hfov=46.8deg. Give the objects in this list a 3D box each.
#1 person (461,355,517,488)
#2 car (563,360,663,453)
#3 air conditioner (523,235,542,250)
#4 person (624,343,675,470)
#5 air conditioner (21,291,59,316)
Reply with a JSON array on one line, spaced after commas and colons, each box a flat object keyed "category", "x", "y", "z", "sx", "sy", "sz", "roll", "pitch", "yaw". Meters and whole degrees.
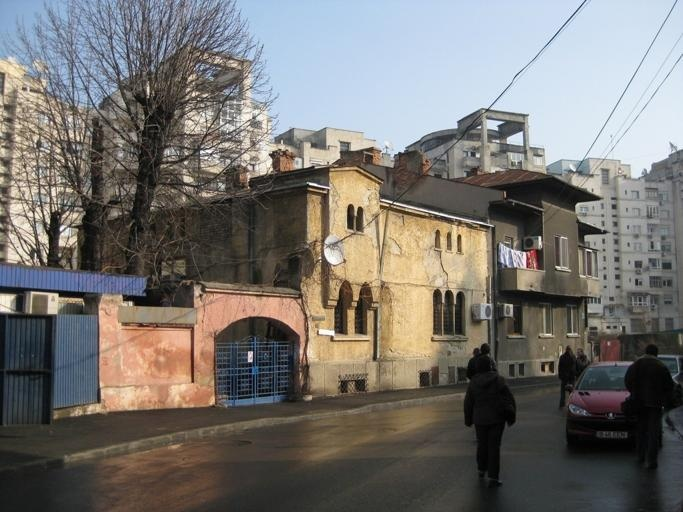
[{"category": "person", "x": 2.946, "y": 3.268, "z": 15.759, "sx": 0.988, "sy": 2.421, "sz": 0.853, "roll": 0, "pitch": 1, "yaw": 23}, {"category": "car", "x": 6.320, "y": 3.548, "z": 18.189, "sx": 1.367, "sy": 1.516, "sz": 3.012, "roll": -3, "pitch": -14, "yaw": 14}, {"category": "air conditioner", "x": 10.380, "y": -0.585, "z": 42.820, "sx": 1.026, "sy": 1.011, "sz": 0.627, "roll": -6, "pitch": -15, "yaw": 32}, {"category": "person", "x": 6.671, "y": 3.198, "z": 17.029, "sx": 0.898, "sy": 2.482, "sz": 0.892, "roll": -1, "pitch": 1, "yaw": -26}, {"category": "air conditioner", "x": -8.564, "y": 1.371, "z": 22.516, "sx": 1.034, "sy": 0.970, "sz": 0.592, "roll": 5, "pitch": -3, "yaw": -38}]
